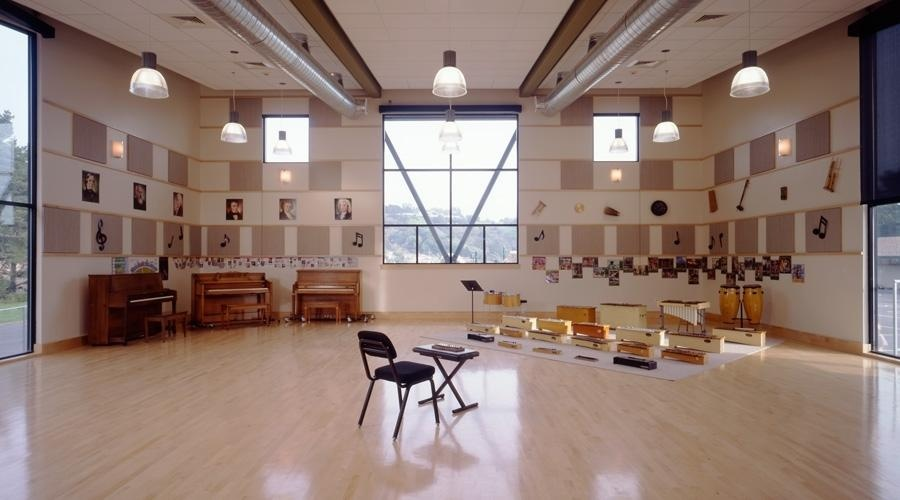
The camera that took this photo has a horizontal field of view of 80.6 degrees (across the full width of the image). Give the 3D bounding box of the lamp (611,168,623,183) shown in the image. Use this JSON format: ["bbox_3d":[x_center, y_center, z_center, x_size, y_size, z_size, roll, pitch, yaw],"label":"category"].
[{"bbox_3d":[5.012,-2.236,15.943,0.345,0.340,0.284,5,-14,4],"label":"lamp"}]

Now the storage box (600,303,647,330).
[{"bbox_3d":[4.567,1.746,14.007,1.094,0.599,0.763,5,11,34],"label":"storage box"}]

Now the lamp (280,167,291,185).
[{"bbox_3d":[-4.938,-2.217,15.986,0.410,0.381,0.373,2,-1,7],"label":"lamp"}]

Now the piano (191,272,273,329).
[{"bbox_3d":[-6.317,1.420,15.283,2.260,1.467,0.980,-4,10,-17],"label":"piano"}]

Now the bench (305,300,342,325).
[{"bbox_3d":[-3.742,1.817,15.685,1.101,0.581,0.587,-2,9,-9],"label":"bench"}]

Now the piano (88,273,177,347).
[{"bbox_3d":[-8.101,1.360,13.882,1.625,2.051,2.586,-2,0,5],"label":"piano"}]

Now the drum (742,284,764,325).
[{"bbox_3d":[7.965,1.463,13.898,0.590,1.137,0.405,-9,13,-39],"label":"drum"}]

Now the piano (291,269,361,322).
[{"bbox_3d":[-3.617,1.398,16.147,2.675,1.792,1.460,0,-8,-2],"label":"piano"}]

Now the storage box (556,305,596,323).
[{"bbox_3d":[3.450,1.747,14.510,1.108,0.365,0.951,-1,-3,37],"label":"storage box"}]

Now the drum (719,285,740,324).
[{"bbox_3d":[7.450,1.447,14.119,0.470,1.035,0.374,4,11,28],"label":"drum"}]
